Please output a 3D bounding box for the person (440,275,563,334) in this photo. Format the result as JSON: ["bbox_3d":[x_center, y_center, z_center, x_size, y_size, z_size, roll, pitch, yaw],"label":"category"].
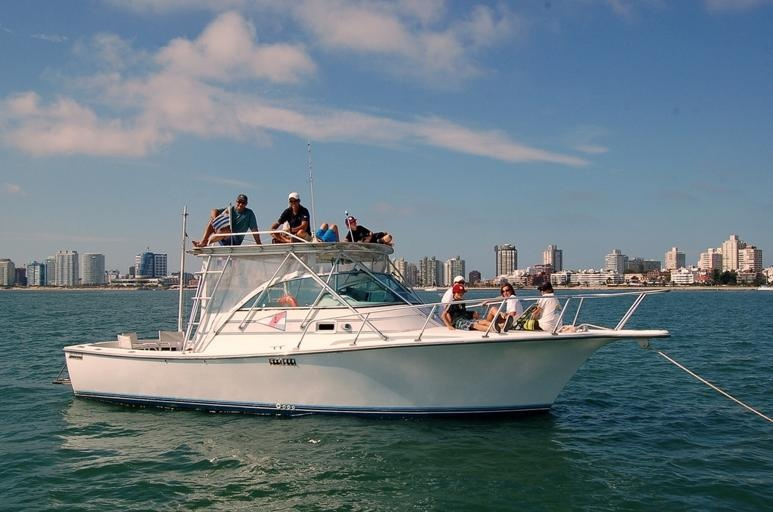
[{"bbox_3d":[2.724,1.250,19.053,2.679,0.953,1.397,2,1,28],"label":"person"}]

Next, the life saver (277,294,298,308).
[{"bbox_3d":[-2.488,1.111,19.605,0.381,0.128,0.440,-5,18,-15],"label":"life saver"}]

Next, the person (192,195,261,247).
[{"bbox_3d":[-4.188,-0.913,20.312,2.094,1.070,1.017,0,9,-28],"label":"person"}]

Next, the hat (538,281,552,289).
[{"bbox_3d":[3.907,0.710,18.890,0.275,0.209,0.396,1,-1,10],"label":"hat"}]

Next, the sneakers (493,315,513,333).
[{"bbox_3d":[2.908,1.648,19.044,0.330,0.575,0.232,24,22,16],"label":"sneakers"}]
